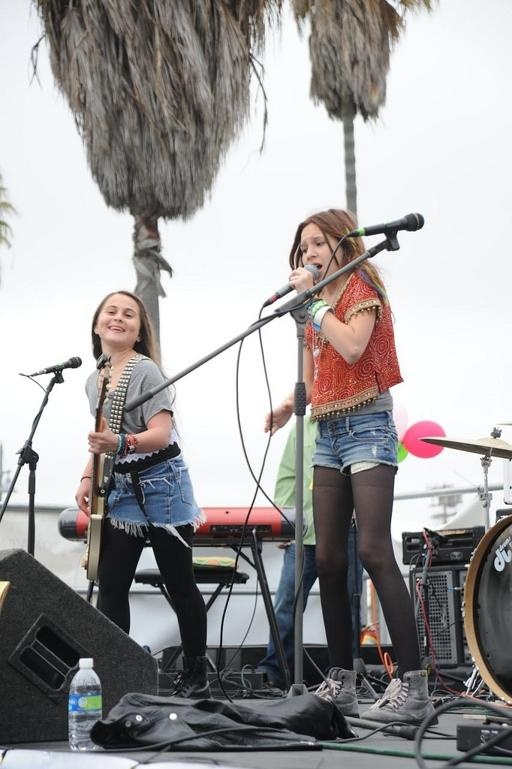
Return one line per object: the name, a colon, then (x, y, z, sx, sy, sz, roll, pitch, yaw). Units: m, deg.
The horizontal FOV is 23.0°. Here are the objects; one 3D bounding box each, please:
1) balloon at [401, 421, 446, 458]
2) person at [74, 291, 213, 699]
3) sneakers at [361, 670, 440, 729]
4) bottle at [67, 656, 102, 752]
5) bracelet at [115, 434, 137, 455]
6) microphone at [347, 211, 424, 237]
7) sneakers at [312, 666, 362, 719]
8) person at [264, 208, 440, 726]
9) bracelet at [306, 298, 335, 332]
balloon: (1.062, 0.360, 8.010, 0.256, 0.266, 0.144, 13, 14, 2)
person: (-0.437, 0.394, 4.837, 0.562, 1.453, 0.548, -2, -4, 38)
sneakers: (0.454, 1.019, 4.084, 0.210, 0.178, 0.316, -9, -21, 24)
bottle: (-0.501, 0.933, 3.651, 0.120, 0.341, 0.114, -3, -24, -1)
bracelet: (-0.467, 0.212, 4.542, 0.056, 0.089, 0.077, 7, -4, -43)
microphone: (0.464, -0.541, 4.380, 0.195, 0.090, 0.156, 0, -2, 21)
sneakers: (0.282, 0.990, 4.161, 0.264, 0.160, 0.158, -1, -3, 14)
person: (0.409, 0.247, 4.415, 0.502, 1.720, 0.595, 0, -1, 39)
bracelet: (0.216, -0.239, 4.285, 0.077, 0.101, 0.096, 0, 12, -8)
